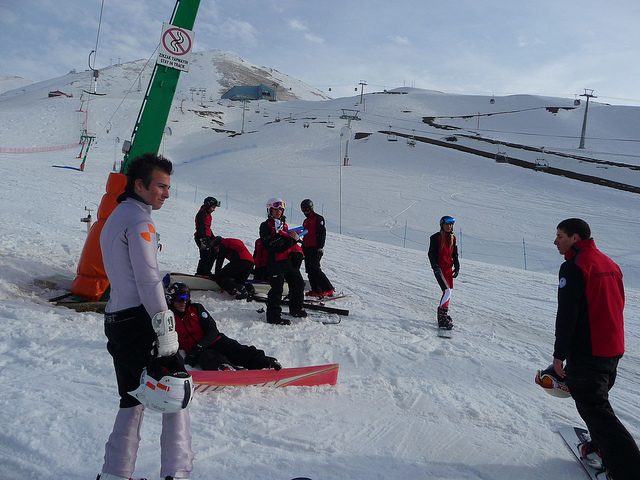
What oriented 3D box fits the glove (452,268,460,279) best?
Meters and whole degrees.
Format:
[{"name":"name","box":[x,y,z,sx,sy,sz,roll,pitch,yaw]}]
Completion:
[{"name":"glove","box":[2.519,0.617,8.087,0.122,0.158,0.050,3,-11,3]}]

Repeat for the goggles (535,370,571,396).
[{"name":"goggles","box":[2.379,1.463,4.443,0.364,0.144,0.141,14,18,9]}]

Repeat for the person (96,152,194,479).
[{"name":"person","box":[-1.412,0.695,3.609,0.754,2.784,0.896,3,10,-27]}]

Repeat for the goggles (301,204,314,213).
[{"name":"goggles","box":[-0.251,-0.612,8.675,0.155,0.120,0.121,-4,-4,42]}]

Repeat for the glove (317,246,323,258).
[{"name":"glove","box":[0.001,0.243,8.692,0.085,0.253,0.136,8,9,5]}]

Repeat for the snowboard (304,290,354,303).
[{"name":"snowboard","box":[0.116,1.172,8.687,0.834,0.182,0.260,3,9,-26]}]

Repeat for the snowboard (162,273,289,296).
[{"name":"snowboard","box":[-1.703,0.809,7.830,2.177,0.290,0.442,9,-9,-5]}]

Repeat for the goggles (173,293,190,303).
[{"name":"goggles","box":[-1.832,0.780,5.826,0.236,0.151,0.075,-2,12,-45]}]

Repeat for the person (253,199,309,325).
[{"name":"person","box":[-0.635,0.371,7.558,0.955,2.102,0.832,-3,0,-16]}]

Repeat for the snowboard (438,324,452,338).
[{"name":"snowboard","box":[2.222,1.632,7.733,0.238,0.078,0.483,9,8,15]}]

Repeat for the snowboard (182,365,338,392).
[{"name":"snowboard","box":[-0.587,1.684,5.321,2.264,0.307,0.638,2,-13,-5]}]

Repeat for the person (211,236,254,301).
[{"name":"person","box":[-1.705,0.552,8.583,1.034,1.073,0.678,9,9,13]}]
